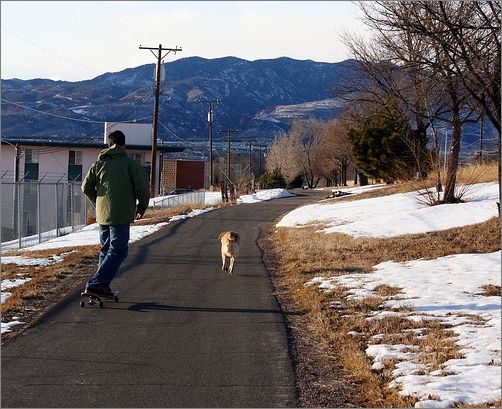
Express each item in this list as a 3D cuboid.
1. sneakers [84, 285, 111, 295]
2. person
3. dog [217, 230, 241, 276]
[{"bbox_3d":[-2.445,1.349,9.299,0.410,0.188,0.148,1,1,-10],"label":"sneakers"},{"bbox_3d":[-2.165,0.166,9.371,1.067,2.610,0.542,-3,5,-10],"label":"person"},{"bbox_3d":[-0.499,1.028,12.586,0.382,0.938,1.585,4,-6,-6],"label":"dog"}]
